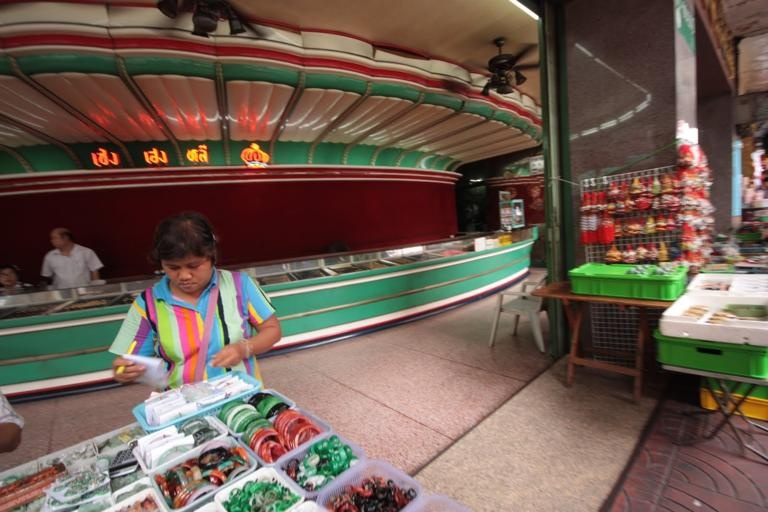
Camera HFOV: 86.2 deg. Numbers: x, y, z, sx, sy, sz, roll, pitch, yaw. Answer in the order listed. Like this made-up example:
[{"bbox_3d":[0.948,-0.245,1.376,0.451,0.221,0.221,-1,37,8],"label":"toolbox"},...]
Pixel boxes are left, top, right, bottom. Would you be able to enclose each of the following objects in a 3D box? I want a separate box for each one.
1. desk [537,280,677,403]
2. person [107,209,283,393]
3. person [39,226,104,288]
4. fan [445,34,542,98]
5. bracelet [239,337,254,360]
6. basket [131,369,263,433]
[{"bbox_3d":[2.287,0.817,4.284,1.138,1.086,0.923,-4,7,28],"label":"desk"},{"bbox_3d":[-1.350,0.325,2.892,1.048,0.892,0.457,-9,6,-25],"label":"person"},{"bbox_3d":[-4.430,0.005,5.742,0.659,0.736,0.510,-11,7,-34],"label":"person"},{"bbox_3d":[2.096,-3.134,6.977,1.402,0.675,1.303,-13,-19,26],"label":"fan"},{"bbox_3d":[-0.978,0.642,2.910,0.066,0.117,0.113,-24,40,-8],"label":"bracelet"},{"bbox_3d":[-1.231,0.934,2.704,0.652,0.159,0.384,-8,9,-43],"label":"basket"}]
